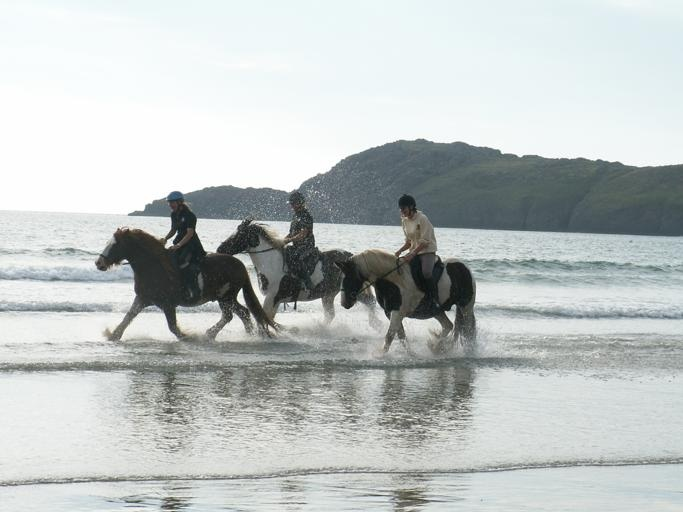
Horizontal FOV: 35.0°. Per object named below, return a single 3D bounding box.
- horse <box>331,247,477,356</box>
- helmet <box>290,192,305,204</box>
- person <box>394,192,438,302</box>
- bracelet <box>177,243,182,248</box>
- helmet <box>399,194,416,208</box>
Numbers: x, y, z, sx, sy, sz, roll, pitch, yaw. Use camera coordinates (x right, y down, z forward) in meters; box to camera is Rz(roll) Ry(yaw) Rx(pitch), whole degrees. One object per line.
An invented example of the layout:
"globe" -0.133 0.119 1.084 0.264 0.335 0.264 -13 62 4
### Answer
"horse" 1.361 0.973 21.167 3.491 2.083 0.960 -3 2 -36
"helmet" -0.933 -1.223 22.834 0.331 0.225 0.382 2 12 -4
"person" 1.494 -0.194 20.927 0.881 2.131 1.411 4 12 4
"bracelet" -3.206 -0.199 21.397 0.085 0.098 0.118 10 14 29
"helmet" 1.255 -1.024 20.331 0.305 0.248 0.234 6 -5 -29
